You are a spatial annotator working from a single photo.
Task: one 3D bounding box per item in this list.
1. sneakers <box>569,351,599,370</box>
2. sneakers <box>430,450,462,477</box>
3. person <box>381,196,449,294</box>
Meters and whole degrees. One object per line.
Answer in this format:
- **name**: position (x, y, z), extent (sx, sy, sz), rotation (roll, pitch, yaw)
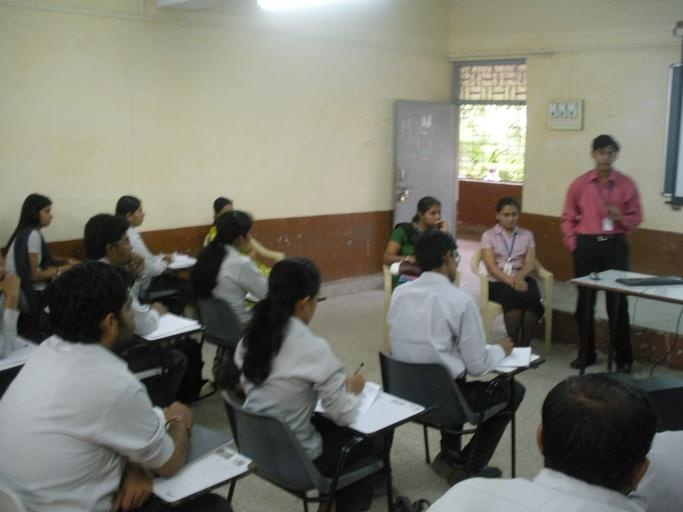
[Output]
- **sneakers**: position (1.942, 0.838, 4.648), extent (0.316, 0.145, 0.105), rotation (-4, 4, -39)
- **sneakers**: position (0.603, 1.218, 3.361), extent (0.118, 0.127, 0.150), rotation (12, -1, -17)
- **person**: position (0.644, 0.081, 5.065), extent (0.527, 1.120, 0.490), rotation (3, -3, 11)
